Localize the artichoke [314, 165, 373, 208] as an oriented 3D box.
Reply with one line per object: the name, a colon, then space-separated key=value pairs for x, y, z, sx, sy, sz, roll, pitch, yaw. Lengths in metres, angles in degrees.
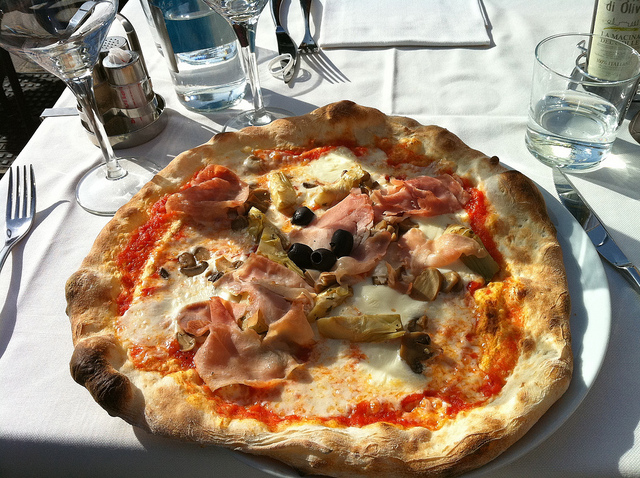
artichoke: x=0.088 y=-0.205 z=2.303 sx=0.137 sy=0.096 sz=0.224 roll=24 pitch=63 yaw=44

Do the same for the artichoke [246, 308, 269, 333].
artichoke: x=-0.212 y=0.270 z=1.857 sx=0.077 sy=0.028 sz=0.074 roll=-35 pitch=87 yaw=-21

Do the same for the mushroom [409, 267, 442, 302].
mushroom: x=0.369 y=0.160 z=1.949 sx=0.093 sy=0.029 sz=0.118 roll=25 pitch=81 yaw=23

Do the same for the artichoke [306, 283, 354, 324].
artichoke: x=0.029 y=0.227 z=1.919 sx=0.180 sy=0.064 sz=0.122 roll=16 pitch=24 yaw=26

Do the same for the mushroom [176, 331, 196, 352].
mushroom: x=-0.465 y=0.348 z=1.885 sx=0.062 sy=0.024 sz=0.055 roll=1 pitch=69 yaw=3

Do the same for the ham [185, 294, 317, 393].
ham: x=-0.258 y=0.361 z=1.828 sx=0.119 sy=0.307 sz=0.391 roll=-25 pitch=66 yaw=34

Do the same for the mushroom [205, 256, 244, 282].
mushroom: x=-0.354 y=0.106 z=2.053 sx=0.105 sy=0.036 sz=0.099 roll=-18 pitch=37 yaw=-23

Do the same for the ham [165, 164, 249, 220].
ham: x=-0.508 y=-0.226 z=2.328 sx=0.409 sy=0.195 sz=0.274 roll=-14 pitch=25 yaw=-31

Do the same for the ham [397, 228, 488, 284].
ham: x=0.433 y=0.053 z=2.014 sx=0.341 sy=0.073 sz=0.220 roll=-2 pitch=39 yaw=31

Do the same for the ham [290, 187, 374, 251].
ham: x=0.060 y=-0.047 z=2.120 sx=0.293 sy=0.070 sz=0.188 roll=-44 pitch=45 yaw=-5

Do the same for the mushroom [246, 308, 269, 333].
mushroom: x=-0.214 y=0.273 z=1.857 sx=0.078 sy=0.030 sz=0.075 roll=-34 pitch=88 yaw=-13

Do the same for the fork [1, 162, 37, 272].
fork: x=-1.265 y=-0.085 z=2.357 sx=0.089 sy=0.090 sz=0.594 roll=0 pitch=59 yaw=-8

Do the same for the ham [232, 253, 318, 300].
ham: x=-0.155 y=0.138 z=1.966 sx=0.280 sy=0.071 sz=0.196 roll=9 pitch=20 yaw=32

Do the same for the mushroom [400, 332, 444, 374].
mushroom: x=0.310 y=0.361 z=1.817 sx=0.137 sy=0.045 sz=0.122 roll=-4 pitch=56 yaw=-9
